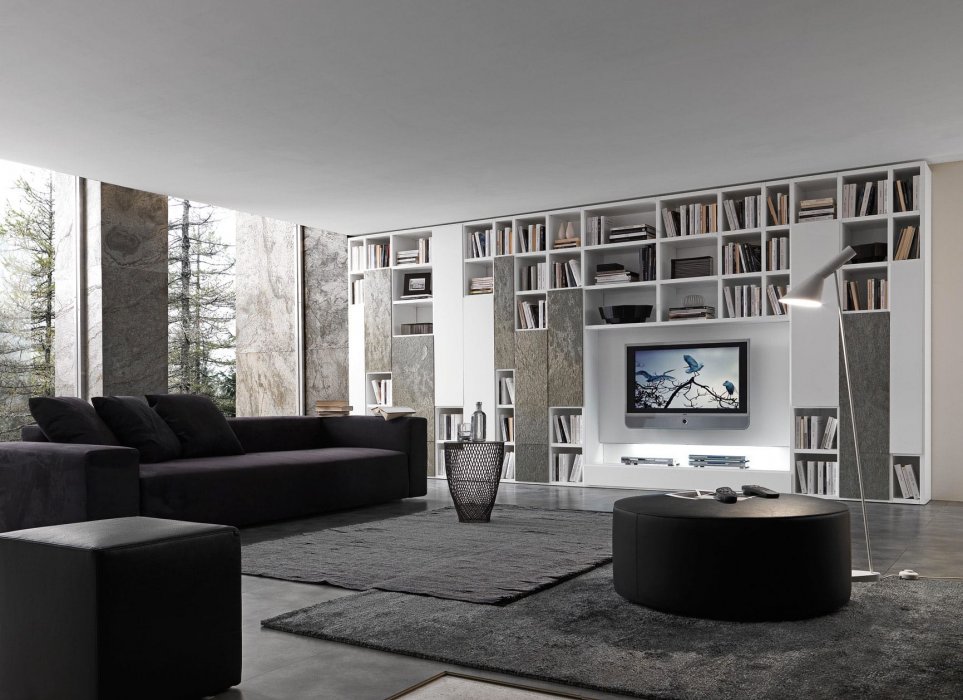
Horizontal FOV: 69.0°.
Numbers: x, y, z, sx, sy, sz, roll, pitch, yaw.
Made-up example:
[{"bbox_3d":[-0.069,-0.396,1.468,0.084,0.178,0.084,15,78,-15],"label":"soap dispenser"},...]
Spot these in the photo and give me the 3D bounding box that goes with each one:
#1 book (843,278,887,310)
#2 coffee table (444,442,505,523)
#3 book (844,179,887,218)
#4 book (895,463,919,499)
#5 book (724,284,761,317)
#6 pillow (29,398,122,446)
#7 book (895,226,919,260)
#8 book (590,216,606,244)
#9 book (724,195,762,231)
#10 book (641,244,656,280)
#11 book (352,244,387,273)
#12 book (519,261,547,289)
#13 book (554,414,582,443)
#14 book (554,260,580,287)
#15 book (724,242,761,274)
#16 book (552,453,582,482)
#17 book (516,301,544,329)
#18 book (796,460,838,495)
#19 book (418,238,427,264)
[{"bbox_3d":[3.392,-0.421,6.239,0.287,0.367,0.394,0,0,31],"label":"book"},{"bbox_3d":[-0.065,0.965,5.185,0.547,0.670,0.537,-1,-5,7],"label":"coffee table"},{"bbox_3d":[3.397,-1.182,6.232,0.307,0.522,0.561,1,2,30],"label":"book"},{"bbox_3d":[3.631,1.142,6.065,0.193,0.252,0.080,1,-10,-38],"label":"book"},{"bbox_3d":[2.467,-0.463,6.689,0.288,0.367,0.389,0,-1,29],"label":"book"},{"bbox_3d":[-2.690,0.466,4.626,0.442,0.328,0.398,-2,-2,17],"label":"pillow"},{"bbox_3d":[3.675,-0.924,6.096,0.190,0.201,0.100,-2,-2,23],"label":"book"},{"bbox_3d":[1.213,-1.258,7.400,0.158,0.279,0.301,2,0,30],"label":"book"},{"bbox_3d":[2.480,-1.308,6.685,0.309,0.391,0.417,0,1,22],"label":"book"},{"bbox_3d":[1.674,-0.894,7.076,0.205,0.341,0.365,0,-2,14],"label":"book"},{"bbox_3d":[-1.377,-1.124,8.662,0.398,0.373,0.190,0,-1,30],"label":"book"},{"bbox_3d":[0.562,-0.770,7.763,0.280,0.356,0.375,0,-1,10],"label":"book"},{"bbox_3d":[0.895,0.837,7.385,0.263,0.338,0.358,-1,-4,35],"label":"book"},{"bbox_3d":[0.893,-0.805,7.495,0.260,0.332,0.356,-1,-2,36],"label":"book"},{"bbox_3d":[2.479,-0.885,6.726,0.346,0.308,0.130,-2,-1,23],"label":"book"},{"bbox_3d":[0.892,1.251,7.370,0.274,0.353,0.379,0,-2,15],"label":"book"},{"bbox_3d":[0.530,-0.364,7.650,0.292,0.304,0.312,0,-1,28],"label":"book"},{"bbox_3d":[3.005,1.150,6.304,0.359,0.338,0.199,1,-1,38],"label":"book"},{"bbox_3d":[-0.698,-1.177,8.346,0.105,0.295,0.082,-1,-1,-6],"label":"book"}]
